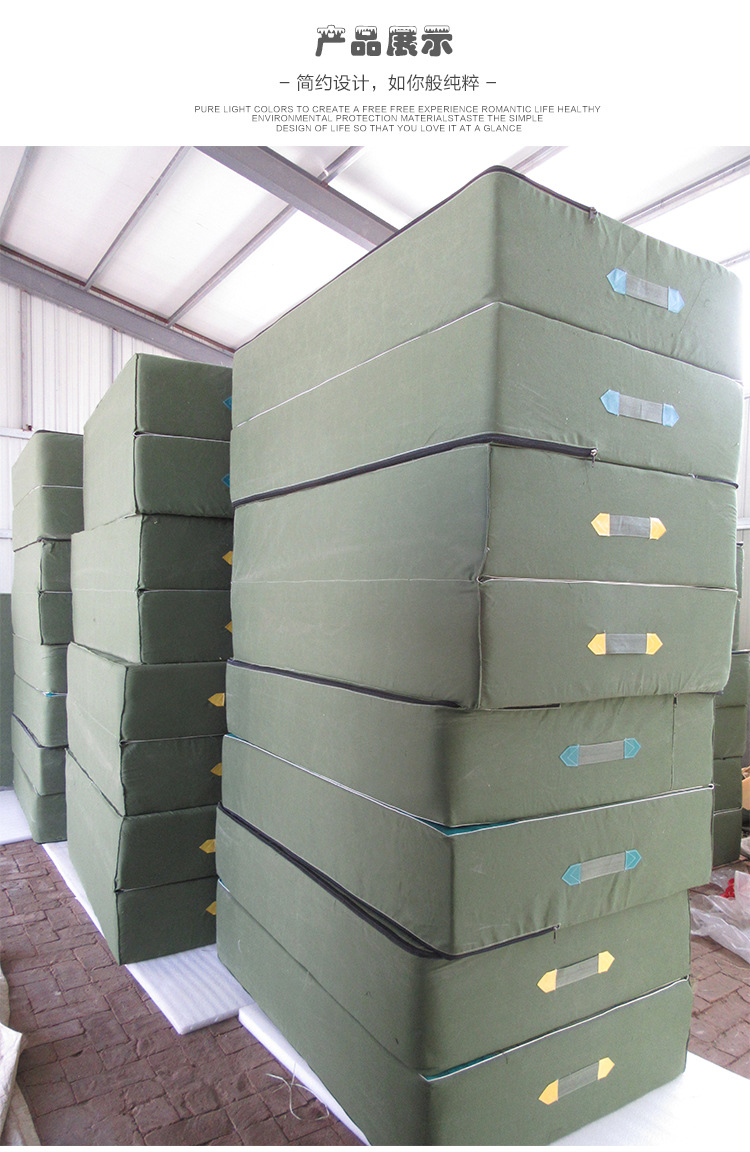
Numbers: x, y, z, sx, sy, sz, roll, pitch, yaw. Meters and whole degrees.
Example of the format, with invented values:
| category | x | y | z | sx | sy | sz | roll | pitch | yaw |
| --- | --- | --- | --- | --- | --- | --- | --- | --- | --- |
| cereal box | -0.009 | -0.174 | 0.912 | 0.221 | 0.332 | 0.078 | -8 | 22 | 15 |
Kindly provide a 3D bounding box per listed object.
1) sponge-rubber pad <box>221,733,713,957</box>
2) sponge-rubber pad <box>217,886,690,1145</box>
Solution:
| category | x | y | z | sx | sy | sz | roll | pitch | yaw |
| --- | --- | --- | --- | --- | --- | --- | --- | --- | --- |
| sponge-rubber pad | 0.204 | 0.514 | 1.705 | 0.650 | 0.161 | 0.616 | 4 | -3 | -27 |
| sponge-rubber pad | 0.256 | 0.825 | 1.703 | 0.452 | 0.108 | 0.445 | 4 | -3 | -32 |
